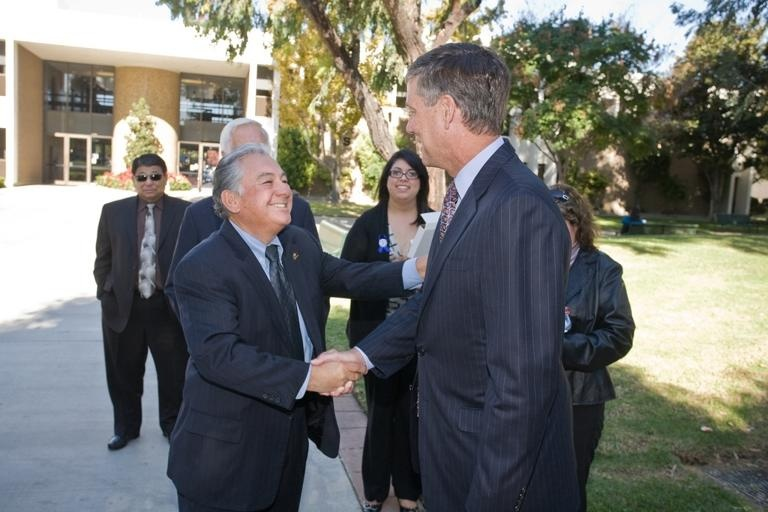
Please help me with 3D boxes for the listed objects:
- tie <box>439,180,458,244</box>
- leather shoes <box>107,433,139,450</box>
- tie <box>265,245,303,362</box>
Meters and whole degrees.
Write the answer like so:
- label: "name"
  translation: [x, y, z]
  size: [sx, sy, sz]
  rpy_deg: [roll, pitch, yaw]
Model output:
- label: "tie"
  translation: [0.407, -0.265, 3.615]
  size: [0.146, 0.062, 0.553]
  rpy_deg: [-2, 39, 11]
- label: "leather shoes"
  translation: [-2.539, 1.801, 5.664]
  size: [0.094, 0.109, 0.268]
  rpy_deg: [-2, -5, 18]
- label: "tie"
  translation: [-0.679, 0.195, 3.905]
  size: [0.154, 0.995, 0.112]
  rpy_deg: [2, -26, -30]
